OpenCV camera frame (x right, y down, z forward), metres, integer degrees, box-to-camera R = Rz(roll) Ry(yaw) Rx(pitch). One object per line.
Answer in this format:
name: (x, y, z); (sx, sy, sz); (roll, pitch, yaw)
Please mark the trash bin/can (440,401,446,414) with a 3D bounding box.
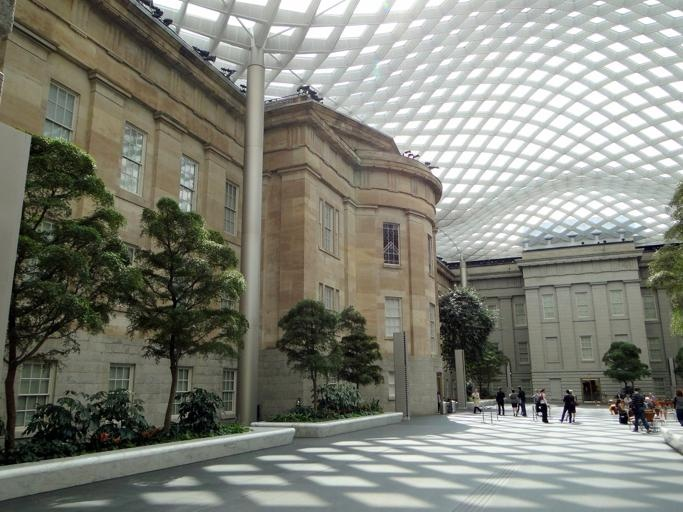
trash bin/can: (6.372, 9.520, 33.523); (0.355, 0.525, 0.628); (-3, -10, 20)
